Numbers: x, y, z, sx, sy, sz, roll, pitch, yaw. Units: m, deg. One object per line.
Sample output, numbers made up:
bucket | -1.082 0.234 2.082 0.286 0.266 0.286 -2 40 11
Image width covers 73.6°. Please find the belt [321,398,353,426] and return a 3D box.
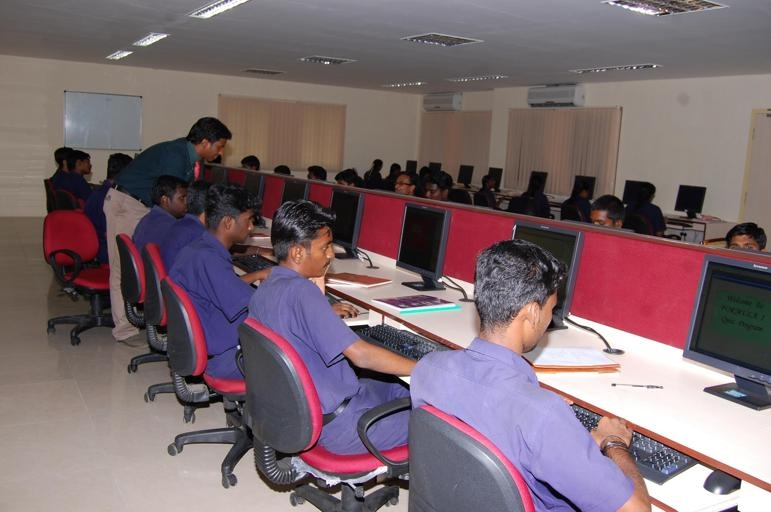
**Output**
belt | -0.230 0.744 2.445 0.117 0.031 0.098 -47 15 -27

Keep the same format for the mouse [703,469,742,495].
mouse | 1.328 0.897 2.032 0.133 0.069 0.081 -6 15 -28

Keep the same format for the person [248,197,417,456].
person | -0.268 0.343 2.485 0.826 1.173 0.493 3 13 9

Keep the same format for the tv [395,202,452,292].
tv | 0.290 -0.057 3.737 0.211 0.608 0.580 0 10 -31

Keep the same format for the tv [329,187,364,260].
tv | -0.320 -0.274 4.256 0.168 0.597 0.537 -4 14 -33

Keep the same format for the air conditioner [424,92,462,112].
air conditioner | 1.495 -4.028 13.466 0.315 0.469 1.186 -9 16 -34

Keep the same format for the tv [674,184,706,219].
tv | 5.216 -0.928 8.776 0.215 0.621 0.527 8 5 -44

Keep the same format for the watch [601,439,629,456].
watch | 0.861 0.710 1.934 0.066 0.020 0.063 -7 11 -25
